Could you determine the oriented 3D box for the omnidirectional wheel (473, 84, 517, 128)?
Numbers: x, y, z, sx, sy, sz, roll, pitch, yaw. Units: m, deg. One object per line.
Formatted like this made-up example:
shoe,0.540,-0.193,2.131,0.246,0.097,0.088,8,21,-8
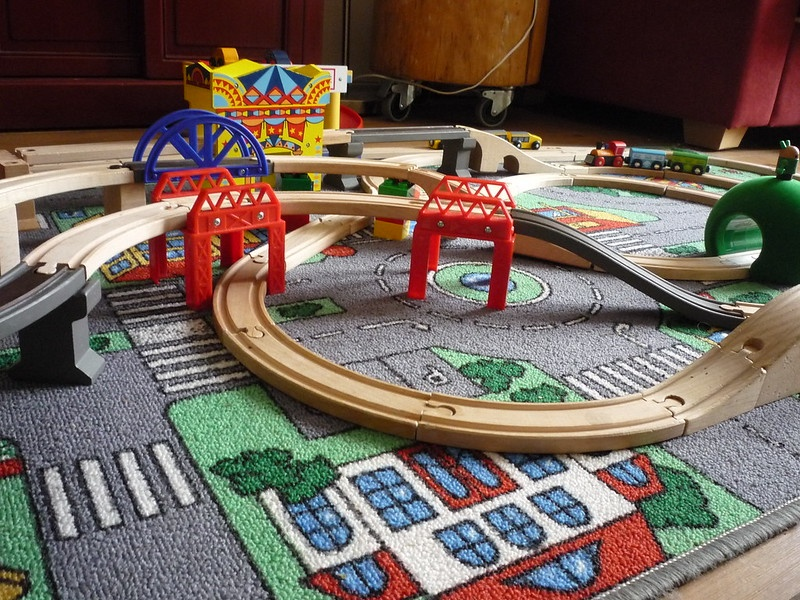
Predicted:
omnidirectional wheel,0.427,-1.015,2.918,0.302,0.240,0.154,-1,25,-4
